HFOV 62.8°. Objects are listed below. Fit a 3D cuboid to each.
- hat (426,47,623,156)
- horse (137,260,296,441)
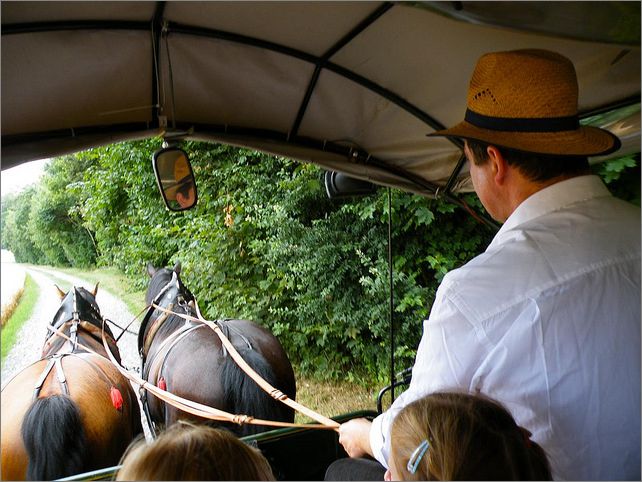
[{"bbox_3d":[0.803,-0.512,1.987,0.501,0.286,0.463,9,13,43],"label":"hat"},{"bbox_3d":[-1.017,0.776,4.136,0.662,1.572,2.142,-6,10,-25],"label":"horse"}]
